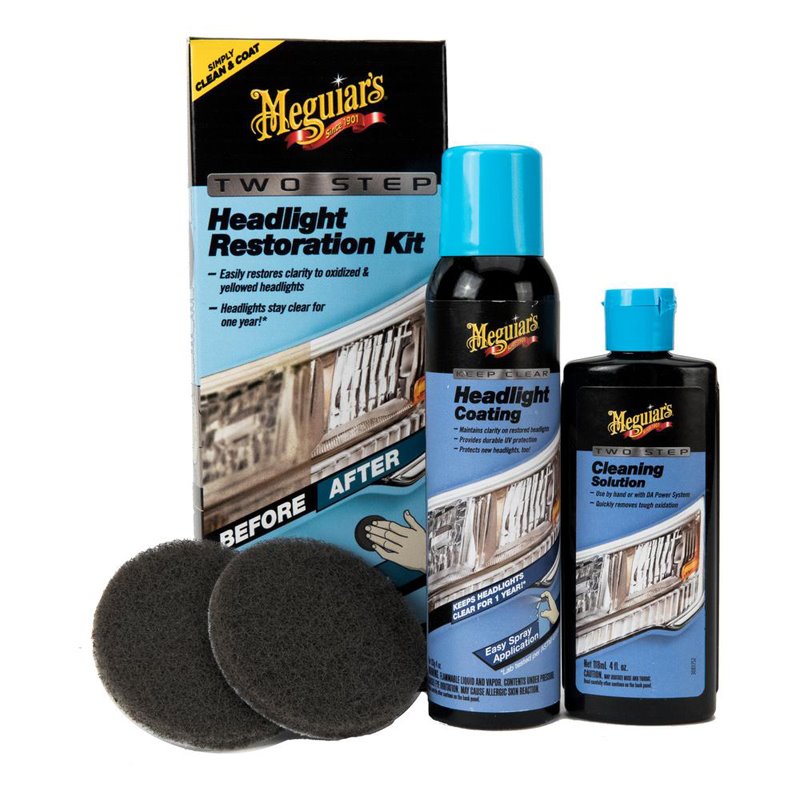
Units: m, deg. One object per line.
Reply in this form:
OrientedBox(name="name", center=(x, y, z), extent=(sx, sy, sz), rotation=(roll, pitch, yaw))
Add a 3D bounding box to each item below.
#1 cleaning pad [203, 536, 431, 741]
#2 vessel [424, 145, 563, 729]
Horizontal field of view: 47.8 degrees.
OrientedBox(name="cleaning pad", center=(-0.123, 0.366, 1.446), extent=(0.369, 0.289, 0.070), rotation=(4, 14, 21))
OrientedBox(name="vessel", center=(0.135, 0.060, 1.349), extent=(0.201, 0.860, 0.217), rotation=(-2, 13, 8))
